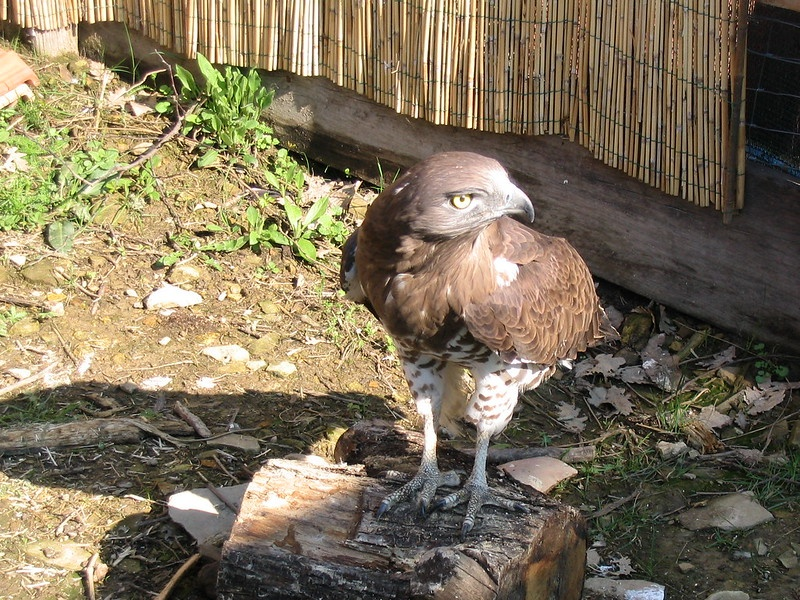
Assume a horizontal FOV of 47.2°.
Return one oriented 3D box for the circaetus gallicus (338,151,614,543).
[{"bbox_3d":[0.429,0.104,5.246,0.977,1.869,1.558,21,19,38],"label":"circaetus gallicus"}]
